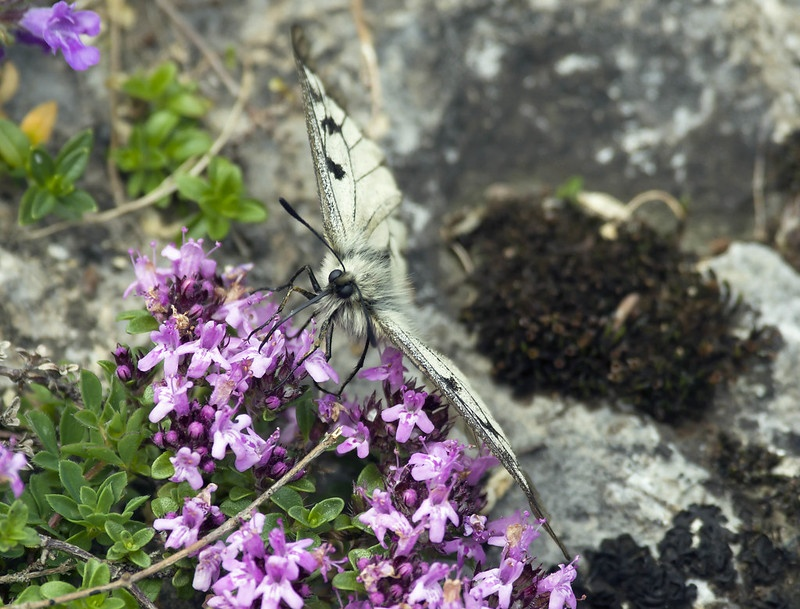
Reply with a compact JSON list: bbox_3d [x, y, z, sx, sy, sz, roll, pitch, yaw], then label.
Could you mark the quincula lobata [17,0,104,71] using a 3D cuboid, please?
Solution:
[{"bbox_3d":[-2.071,-1.675,6.346,0.412,0.184,0.434,0,56,-26],"label":"quincula lobata"}]
